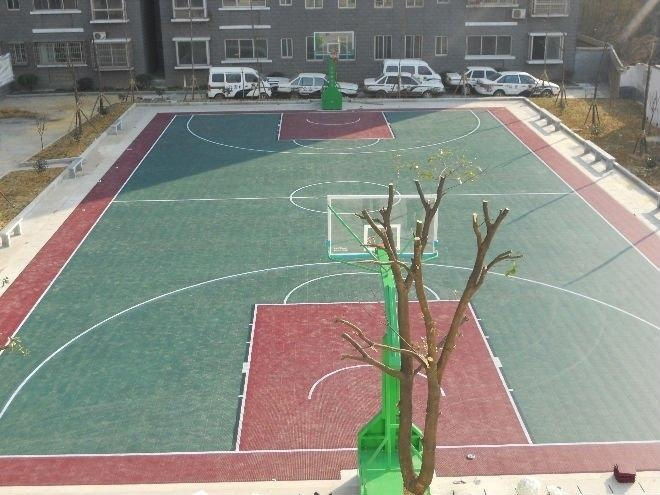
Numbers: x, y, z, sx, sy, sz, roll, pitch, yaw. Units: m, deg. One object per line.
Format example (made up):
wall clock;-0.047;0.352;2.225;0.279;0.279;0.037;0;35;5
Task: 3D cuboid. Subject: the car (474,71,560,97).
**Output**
car;14.879;-12.854;51.071;6.198;1.531;2.187;0;37;6

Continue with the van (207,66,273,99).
van;-7.075;-13.140;51.199;4.921;1.863;2.328;-2;31;-4

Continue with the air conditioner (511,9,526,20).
air conditioner;16.746;-20.550;56.900;1.689;0.924;0.832;1;14;5

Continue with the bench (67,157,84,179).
bench;-14.155;-4.363;35.859;0.389;0.651;1.429;8;32;-4

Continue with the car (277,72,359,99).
car;-1.239;-12.821;51.354;5.948;1.754;1.469;-3;22;-5

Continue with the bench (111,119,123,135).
bench;-14.223;-7.990;43.006;0.556;0.733;1.709;-4;20;-7
